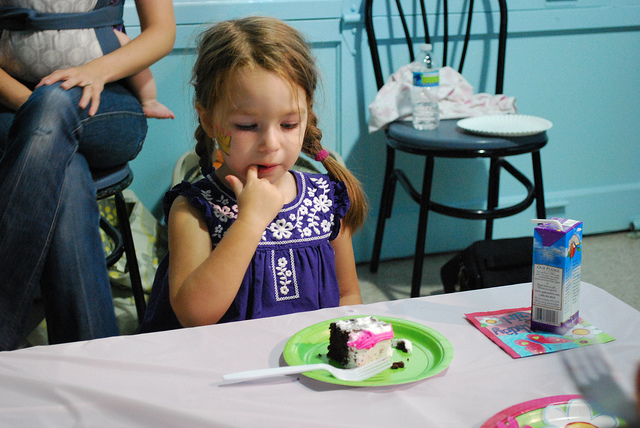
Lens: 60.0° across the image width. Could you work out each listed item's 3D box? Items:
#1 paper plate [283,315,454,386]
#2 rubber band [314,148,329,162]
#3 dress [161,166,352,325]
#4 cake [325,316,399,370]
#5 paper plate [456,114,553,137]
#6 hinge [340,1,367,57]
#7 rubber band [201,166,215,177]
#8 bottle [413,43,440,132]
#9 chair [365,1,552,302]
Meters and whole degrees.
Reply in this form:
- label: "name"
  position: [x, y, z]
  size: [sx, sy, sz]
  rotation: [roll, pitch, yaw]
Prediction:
- label: "paper plate"
  position: [0.091, 0.254, 1.047]
  size: [0.314, 0.063, 0.190]
  rotation: [-3, 15, 1]
- label: "rubber band"
  position: [0.005, -0.165, 1.572]
  size: [0.031, 0.013, 0.030]
  rotation: [-38, -3, 19]
- label: "dress"
  position: [-0.135, 0.073, 1.456]
  size: [0.499, 0.365, 0.222]
  rotation: [-8, 15, -17]
- label: "cake"
  position: [0.083, 0.245, 1.064]
  size: [0.111, 0.074, 0.085]
  rotation: [-3, 12, -42]
- label: "paper plate"
  position: [0.680, -0.331, 2.054]
  size: [0.310, 0.058, 0.272]
  rotation: [6, 17, 31]
- label: "hinge"
  position: [0.142, -0.792, 2.366]
  size: [0.114, 0.229, 0.040]
  rotation: [-5, 14, -6]
- label: "rubber band"
  position: [-0.322, -0.126, 1.612]
  size: [0.034, 0.027, 0.036]
  rotation: [0, 16, 4]
- label: "bottle"
  position: [0.423, -0.510, 2.200]
  size: [0.106, 0.313, 0.363]
  rotation: [-1, 15, 10]
- label: "chair"
  position: [0.654, -0.277, 2.318]
  size: [0.923, 1.248, 0.804]
  rotation: [-3, 14, 2]
